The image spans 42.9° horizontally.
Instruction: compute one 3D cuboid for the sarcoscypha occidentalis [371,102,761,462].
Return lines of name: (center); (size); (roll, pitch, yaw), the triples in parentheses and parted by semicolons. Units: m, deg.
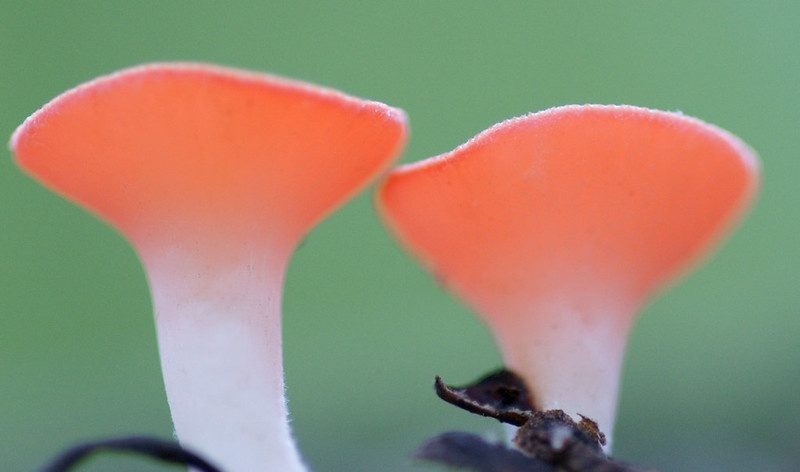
sarcoscypha occidentalis: (0.112, 0.054, 0.807); (0.307, 0.194, 0.273); (-1, -15, 14)
